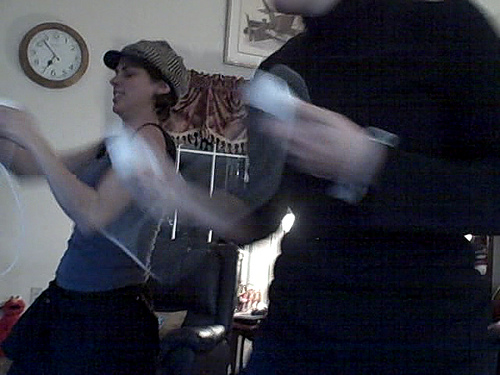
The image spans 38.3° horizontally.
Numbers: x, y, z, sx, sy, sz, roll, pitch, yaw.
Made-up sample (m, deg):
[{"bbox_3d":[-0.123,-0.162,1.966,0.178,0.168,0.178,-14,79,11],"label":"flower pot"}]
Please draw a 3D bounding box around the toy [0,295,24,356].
[{"bbox_3d":[-0.857,0.502,2.570,0.057,0.044,0.175,6,30,-27],"label":"toy"}]

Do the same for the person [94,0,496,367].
[{"bbox_3d":[0.187,0.047,2.595,1.379,1.279,0.837,-12,-6,5],"label":"person"}]
